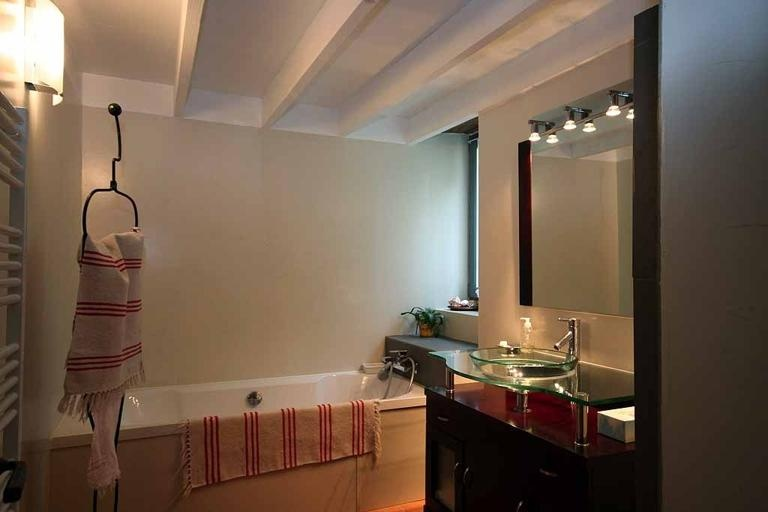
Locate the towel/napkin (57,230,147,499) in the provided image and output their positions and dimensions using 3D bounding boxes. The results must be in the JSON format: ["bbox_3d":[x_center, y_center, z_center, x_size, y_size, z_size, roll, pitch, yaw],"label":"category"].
[{"bbox_3d":[-1.000,0.366,1.987,0.188,0.952,0.404,-2,-2,-7],"label":"towel/napkin"}]

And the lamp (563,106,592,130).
[{"bbox_3d":[0.898,-0.647,2.560,0.060,0.111,0.147,-3,4,-41],"label":"lamp"}]

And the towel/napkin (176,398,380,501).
[{"bbox_3d":[-0.540,1.023,2.989,1.058,0.355,0.050,-1,-2,-21],"label":"towel/napkin"}]

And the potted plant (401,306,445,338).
[{"bbox_3d":[0.309,0.498,4.213,0.233,0.161,0.236,-1,-1,-12],"label":"potted plant"}]

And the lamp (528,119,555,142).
[{"bbox_3d":[0.806,-0.636,2.787,0.061,0.125,0.141,5,-6,-31],"label":"lamp"}]

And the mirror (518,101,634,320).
[{"bbox_3d":[0.887,-0.227,2.591,0.065,0.988,0.784,-1,-2,-21],"label":"mirror"}]
